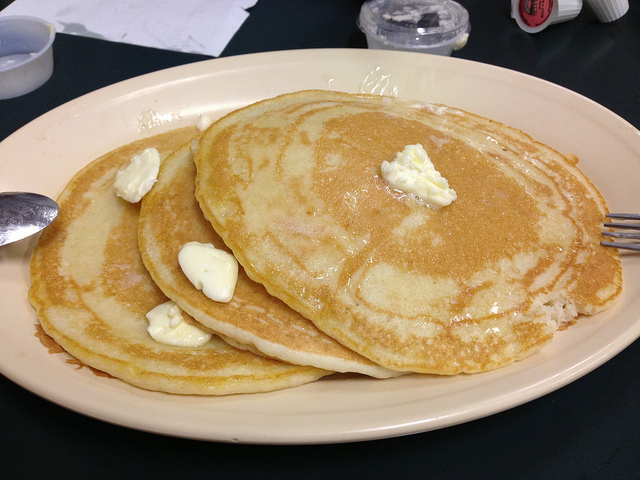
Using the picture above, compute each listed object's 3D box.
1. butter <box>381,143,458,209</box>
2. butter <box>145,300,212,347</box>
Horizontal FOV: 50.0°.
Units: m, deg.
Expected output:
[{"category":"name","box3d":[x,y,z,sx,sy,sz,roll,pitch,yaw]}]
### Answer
[{"category":"butter","box3d":[0.307,-0.218,2.291,0.283,0.077,0.202,12,32,-28]},{"category":"butter","box3d":[-0.436,0.268,2.156,0.195,0.074,0.149,17,26,35]}]
